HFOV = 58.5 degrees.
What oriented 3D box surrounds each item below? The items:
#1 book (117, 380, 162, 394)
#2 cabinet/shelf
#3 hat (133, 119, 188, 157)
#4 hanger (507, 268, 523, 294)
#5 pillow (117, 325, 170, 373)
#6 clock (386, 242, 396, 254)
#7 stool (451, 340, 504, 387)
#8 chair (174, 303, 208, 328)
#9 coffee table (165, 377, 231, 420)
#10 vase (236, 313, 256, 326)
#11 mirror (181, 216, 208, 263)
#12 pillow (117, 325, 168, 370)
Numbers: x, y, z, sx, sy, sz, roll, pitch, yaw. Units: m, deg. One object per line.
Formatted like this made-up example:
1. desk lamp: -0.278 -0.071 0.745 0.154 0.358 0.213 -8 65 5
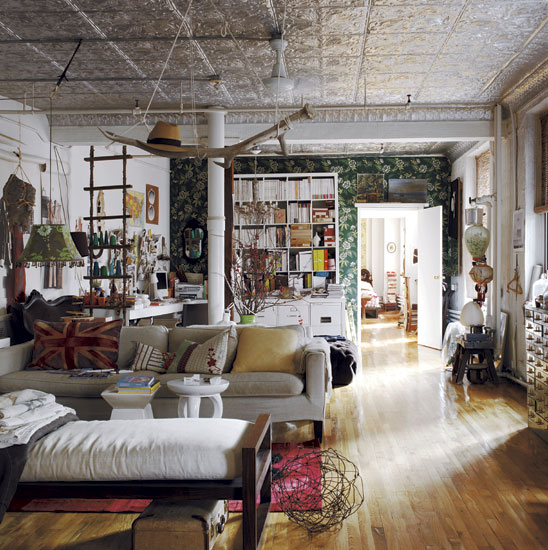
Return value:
1. book: -0.910 0.741 3.253 0.200 0.046 0.193 0 1 4
2. cabinet/shelf: 0.177 -0.771 8.180 2.000 2.164 0.566 0 -5 -1
3. hat: -0.749 -0.938 3.348 0.291 0.142 0.365 3 3 -25
4. hanger: 2.822 0.076 5.767 0.109 0.310 0.469 0 1 16
5. pillow: -1.154 0.665 4.292 0.376 0.315 0.128 0 -28 6
6. clock: 3.418 -0.832 14.336 0.335 0.323 0.078 1 4 -1
7. stool: 2.413 1.062 6.043 0.523 0.463 0.581 0 1 3
8. chair: -1.247 0.581 7.789 0.399 0.411 0.778 5 0 1
9. coffee table: -0.513 0.786 3.283 0.343 0.257 0.346 3 -3 -30
10. vase: -0.303 0.472 5.257 0.123 0.080 0.115 1 -2 22
11. mirror: -1.462 -0.630 8.875 0.444 0.817 0.215 0 1 -6
12. pillow: -1.164 0.652 4.308 0.373 0.339 0.126 -1 -29 7
